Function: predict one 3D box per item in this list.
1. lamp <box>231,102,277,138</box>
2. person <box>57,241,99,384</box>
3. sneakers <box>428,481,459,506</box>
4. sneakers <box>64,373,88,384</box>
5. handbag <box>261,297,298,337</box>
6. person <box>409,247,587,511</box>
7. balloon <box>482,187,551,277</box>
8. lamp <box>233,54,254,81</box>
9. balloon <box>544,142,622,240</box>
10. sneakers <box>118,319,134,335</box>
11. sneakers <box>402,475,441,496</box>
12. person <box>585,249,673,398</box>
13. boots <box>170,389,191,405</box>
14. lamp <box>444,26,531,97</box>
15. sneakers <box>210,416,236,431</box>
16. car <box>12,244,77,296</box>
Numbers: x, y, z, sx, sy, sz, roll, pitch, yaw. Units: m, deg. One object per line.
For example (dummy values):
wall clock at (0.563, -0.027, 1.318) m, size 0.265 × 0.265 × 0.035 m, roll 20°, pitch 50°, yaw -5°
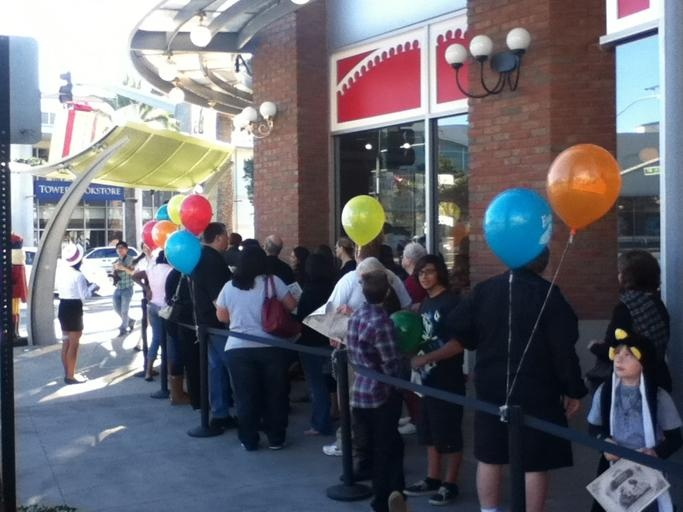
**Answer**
lamp at (-1.462, -2.258, 11.588) m, size 0.283 × 0.467 × 1.004 m, roll -1°, pitch 9°, yaw 23°
person at (-3.761, 0.812, 9.843) m, size 0.479 × 1.947 × 0.632 m, roll -4°, pitch 7°, yaw -22°
sneakers at (0.899, 2.085, 6.030) m, size 0.307 × 0.133 × 0.117 m, roll 7°, pitch -12°, yaw -42°
sneakers at (-3.728, 1.743, 9.749) m, size 0.224 × 0.077 × 0.131 m, roll -1°, pitch 5°, yaw -23°
handbag at (-0.598, 0.618, 7.112) m, size 0.419 × 0.427 × 0.213 m, roll -4°, pitch 10°, yaw 43°
person at (1.314, 0.979, 5.257) m, size 1.056 × 2.055 × 0.462 m, roll 1°, pitch 7°, yaw 19°
balloon at (1.346, -0.194, 5.258) m, size 0.529 × 0.642 × 0.539 m, roll 10°, pitch -12°, yaw -41°
lamp at (-1.866, -3.554, 13.086) m, size 0.286 × 0.396 × 1.053 m, roll -2°, pitch 8°, yaw -4°
balloon at (1.793, -0.503, 5.118) m, size 0.441 × 0.627 × 0.327 m, roll -4°, pitch 7°, yaw -19°
sneakers at (-4.175, 1.418, 13.438) m, size 0.164 × 0.216 × 0.496 m, roll 1°, pitch 5°, yaw -5°
sneakers at (0.735, 2.076, 6.240) m, size 0.348 × 0.142 × 0.136 m, roll 1°, pitch -6°, yaw -8°
person at (2.337, 0.714, 5.649) m, size 0.596 × 1.416 × 0.536 m, roll 6°, pitch 3°, yaw 33°
boots at (-2.033, 1.796, 8.711) m, size 0.285 × 0.279 × 0.121 m, roll -2°, pitch 5°, yaw -17°
lamp at (1.744, -2.234, 8.109) m, size 0.360 × 0.763 × 1.000 m, roll -6°, pitch 9°, yaw -38°
sneakers at (-1.316, 1.881, 7.791) m, size 0.292 × 0.210 × 0.108 m, roll -4°, pitch 7°, yaw -36°
car at (-4.984, 0.253, 11.602) m, size 1.610 × 0.777 × 0.959 m, roll 4°, pitch -6°, yaw -26°
